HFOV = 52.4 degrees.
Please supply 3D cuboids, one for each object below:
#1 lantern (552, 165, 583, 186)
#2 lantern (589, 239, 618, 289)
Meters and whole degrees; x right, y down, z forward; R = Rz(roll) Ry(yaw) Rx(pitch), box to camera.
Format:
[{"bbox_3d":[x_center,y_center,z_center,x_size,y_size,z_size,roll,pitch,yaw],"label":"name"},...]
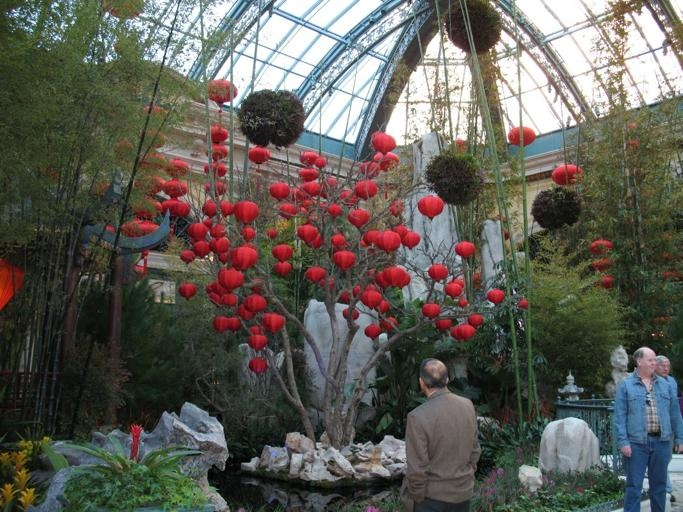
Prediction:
[{"bbox_3d":[3.006,-1.149,9.336,0.326,0.223,0.369,-1,-11,8],"label":"lantern"},{"bbox_3d":[3.616,0.103,9.619,0.295,0.830,0.687,-5,-17,22],"label":"lantern"}]
